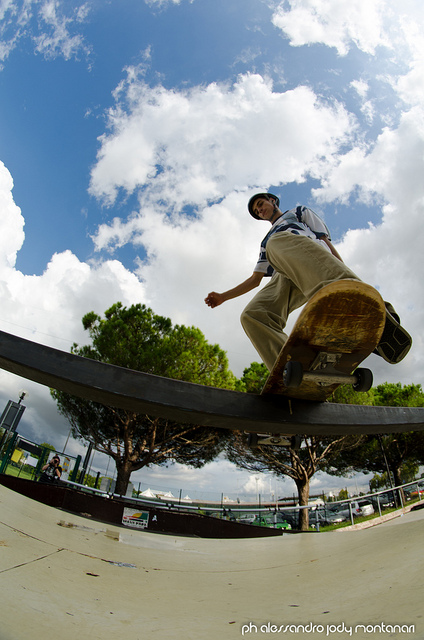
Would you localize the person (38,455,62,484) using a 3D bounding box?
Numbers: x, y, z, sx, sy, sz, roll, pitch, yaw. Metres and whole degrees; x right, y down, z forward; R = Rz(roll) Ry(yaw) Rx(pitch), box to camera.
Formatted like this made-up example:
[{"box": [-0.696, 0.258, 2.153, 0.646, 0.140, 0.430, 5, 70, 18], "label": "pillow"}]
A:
[{"box": [-3.207, 2.992, 8.375, 0.363, 0.583, 0.752, 16, -30, -16], "label": "person"}]

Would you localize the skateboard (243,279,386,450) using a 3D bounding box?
[{"box": [0.472, 0.303, 2.198, 0.359, 0.234, 1.291, 8, -49, -10], "label": "skateboard"}]

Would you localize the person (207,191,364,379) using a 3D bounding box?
[{"box": [0.418, -0.336, 2.702, 0.561, 1.585, 0.778, 28, -59, -20], "label": "person"}]
